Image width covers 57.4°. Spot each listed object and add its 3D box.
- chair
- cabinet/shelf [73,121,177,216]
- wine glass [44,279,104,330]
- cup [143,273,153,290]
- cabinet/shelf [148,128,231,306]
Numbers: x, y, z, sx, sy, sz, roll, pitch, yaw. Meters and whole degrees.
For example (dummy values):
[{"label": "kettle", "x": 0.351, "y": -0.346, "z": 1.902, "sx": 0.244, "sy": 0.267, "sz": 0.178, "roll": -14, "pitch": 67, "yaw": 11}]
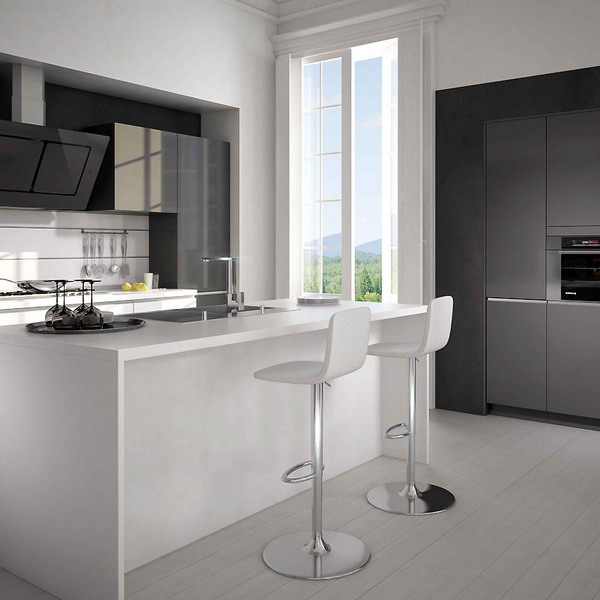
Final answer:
[{"label": "chair", "x": 0.238, "y": 0.644, "z": 2.556, "sx": 0.364, "sy": 0.860, "sz": 0.963, "roll": 2, "pitch": 2, "yaw": 32}, {"label": "cabinet/shelf", "x": -1.323, "y": -0.977, "z": 4.073, "sx": 0.325, "sy": 0.645, "sz": 0.659, "roll": 7, "pitch": 10, "yaw": 35}, {"label": "wine glass", "x": -0.802, "y": 0.042, "z": 1.953, "sx": 0.191, "sy": 0.102, "sz": 0.188, "roll": -1, "pitch": 3, "yaw": -26}, {"label": "cup", "x": -1.240, "y": -0.153, "z": 4.485, "sx": 0.065, "sy": 0.128, "sz": 0.125, "roll": -1, "pitch": 2, "yaw": -14}, {"label": "cabinet/shelf", "x": -0.896, "y": -0.690, "z": 5.054, "sx": 0.479, "sy": 2.069, "sz": 0.791, "roll": 5, "pitch": 13, "yaw": -12}]
